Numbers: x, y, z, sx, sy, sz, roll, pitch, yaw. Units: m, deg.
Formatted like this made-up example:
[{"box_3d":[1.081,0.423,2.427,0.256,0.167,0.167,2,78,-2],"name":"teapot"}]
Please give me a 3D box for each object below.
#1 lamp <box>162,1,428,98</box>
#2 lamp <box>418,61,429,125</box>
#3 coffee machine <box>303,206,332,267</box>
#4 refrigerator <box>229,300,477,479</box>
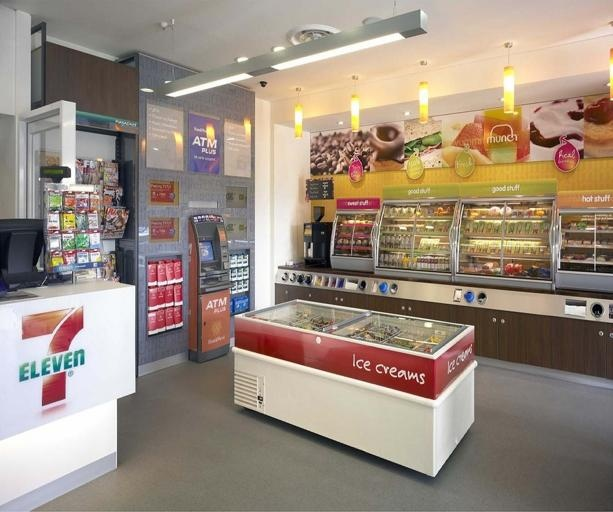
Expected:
[{"box_3d":[-0.233,-1.938,4.277,2.824,0.273,0.171,5,11,32],"name":"lamp"},{"box_3d":[1.388,-1.957,5.181,0.107,0.693,0.106,-2,11,9],"name":"lamp"},{"box_3d":[0.231,-0.348,7.970,0.616,1.042,0.576,-2,9,-6],"name":"coffee machine"},{"box_3d":[0.747,0.731,4.412,2.280,1.120,1.330,5,7,39],"name":"refrigerator"}]
